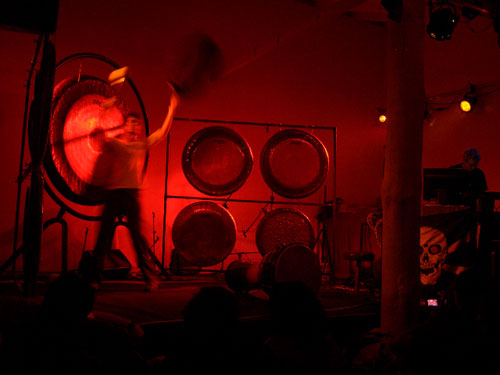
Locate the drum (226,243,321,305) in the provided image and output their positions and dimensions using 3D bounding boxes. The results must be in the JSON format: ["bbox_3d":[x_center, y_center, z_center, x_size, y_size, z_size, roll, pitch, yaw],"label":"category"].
[{"bbox_3d":[0.236,0.860,4.553,0.549,0.523,0.942,1,-10,-35],"label":"drum"}]

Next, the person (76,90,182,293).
[{"bbox_3d":[-1.363,-0.177,5.047,1.003,2.584,0.803,12,-26,-23],"label":"person"}]

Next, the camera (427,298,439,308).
[{"bbox_3d":[1.954,1.215,4.712,0.116,0.085,0.064,1,-22,4],"label":"camera"}]
